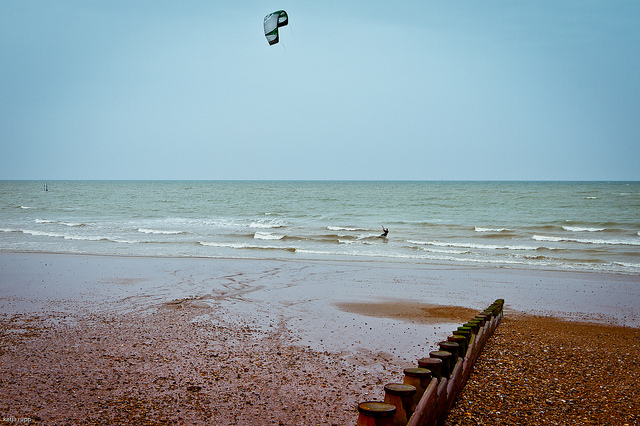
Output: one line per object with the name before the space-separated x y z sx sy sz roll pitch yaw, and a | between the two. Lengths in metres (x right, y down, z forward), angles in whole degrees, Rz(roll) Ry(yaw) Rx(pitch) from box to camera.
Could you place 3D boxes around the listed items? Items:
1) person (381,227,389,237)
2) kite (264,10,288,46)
person | 3.824 1.154 33.852 0.334 0.489 1.068 3 11 14
kite | -1.522 -6.405 20.156 0.729 1.138 1.086 -1 11 -4
